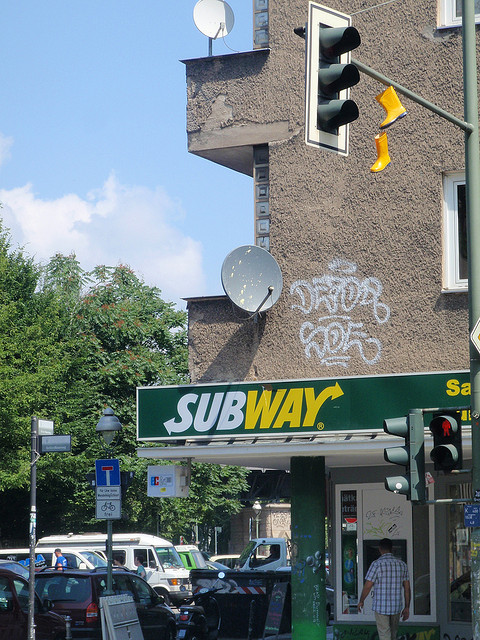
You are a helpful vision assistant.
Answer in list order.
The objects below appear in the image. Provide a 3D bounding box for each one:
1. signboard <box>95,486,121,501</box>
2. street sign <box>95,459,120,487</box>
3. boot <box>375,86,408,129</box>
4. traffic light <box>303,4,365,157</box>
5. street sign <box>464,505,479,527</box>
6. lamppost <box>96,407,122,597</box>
[{"bbox_3d":[-1.921,2.586,26.958,0.358,0.212,0.282,-1,4,-3],"label":"signboard"},{"bbox_3d":[-1.939,2.296,27.026,0.331,0.490,0.030,1,11,13],"label":"street sign"},{"bbox_3d":[1.642,-2.308,20.100,0.293,0.464,0.633,-1,4,4],"label":"boot"},{"bbox_3d":[0.965,-2.534,19.428,0.579,1.569,0.535,0,4,3],"label":"traffic light"},{"bbox_3d":[2.533,2.185,20.281,0.096,0.268,0.283,-2,4,-19],"label":"street sign"},{"bbox_3d":[-1.942,2.609,28.056,0.343,2.644,0.405,-3,11,-11],"label":"lamppost"}]
